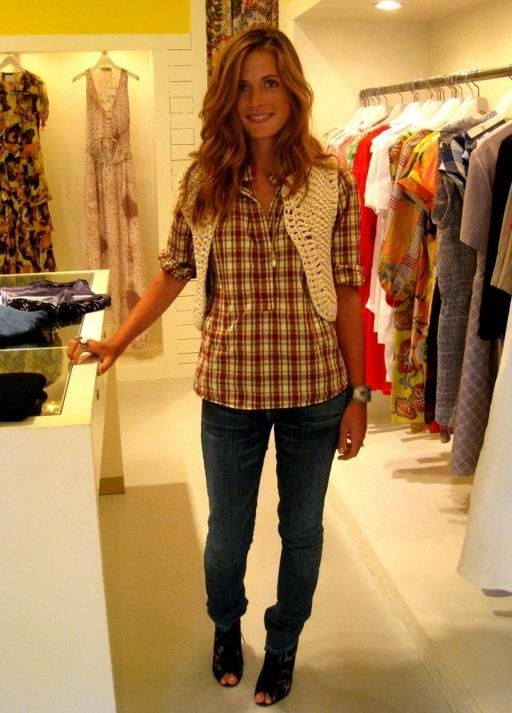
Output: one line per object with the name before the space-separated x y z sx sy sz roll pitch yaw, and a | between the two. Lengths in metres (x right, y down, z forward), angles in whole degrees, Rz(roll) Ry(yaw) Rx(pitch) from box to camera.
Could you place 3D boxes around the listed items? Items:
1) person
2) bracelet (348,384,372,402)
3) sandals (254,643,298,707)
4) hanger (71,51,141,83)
person | -0.035 0.092 1.143 0.506 1.395 0.260 4 13 18
bracelet | 0.204 0.075 1.095 0.039 0.029 0.016 2 4 -7
sandals | 0.059 0.724 1.266 0.049 0.096 0.143 1 -4 13
hanger | -1.040 -1.975 3.767 0.343 0.172 0.013 0 4 -9
